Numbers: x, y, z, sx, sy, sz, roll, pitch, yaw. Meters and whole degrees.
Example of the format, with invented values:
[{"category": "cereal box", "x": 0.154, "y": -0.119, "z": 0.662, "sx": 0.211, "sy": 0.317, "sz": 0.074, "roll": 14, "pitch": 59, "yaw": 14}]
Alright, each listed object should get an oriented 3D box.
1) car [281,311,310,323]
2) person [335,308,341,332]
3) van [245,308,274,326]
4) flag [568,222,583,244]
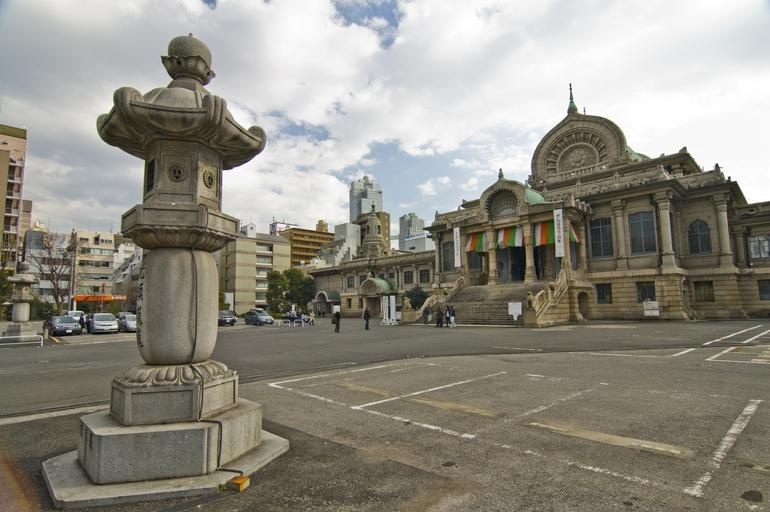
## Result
[{"category": "car", "x": -8.838, "y": 6.019, "z": 53.522, "sx": 1.983, "sy": 0.833, "sz": 2.036, "roll": -9, "pitch": -11, "yaw": 42}, {"category": "person", "x": -2.941, "y": 3.917, "z": 33.089, "sx": 0.248, "sy": 1.539, "sz": 1.054, "roll": -4, "pitch": 8, "yaw": -14}, {"category": "van", "x": -11.284, "y": 5.609, "z": 49.998, "sx": 1.507, "sy": 1.248, "sz": 2.560, "roll": 6, "pitch": -14, "yaw": -38}, {"category": "flag", "x": 14.947, "y": -1.765, "z": 43.236, "sx": 0.729, "sy": 1.880, "sz": 2.849, "roll": 2, "pitch": 9, "yaw": 26}]
